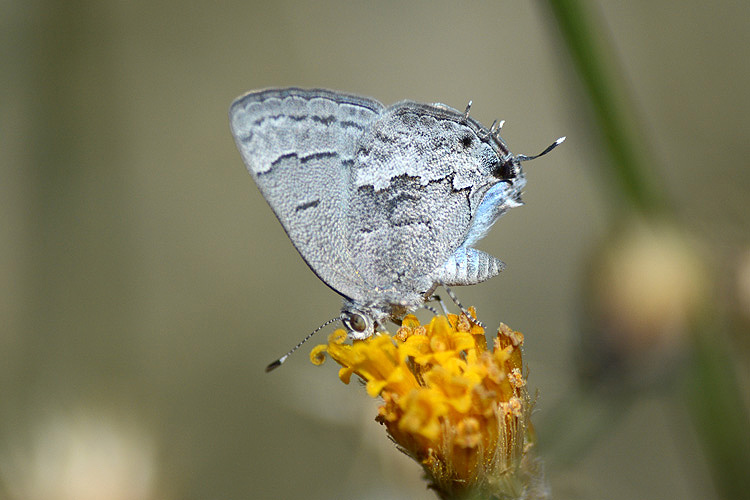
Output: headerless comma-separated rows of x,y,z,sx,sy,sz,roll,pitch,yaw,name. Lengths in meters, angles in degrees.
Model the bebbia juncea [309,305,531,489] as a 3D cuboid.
0.122,0.339,2.117,0.408,0.421,0.309,9,-64,48,bebbia juncea
